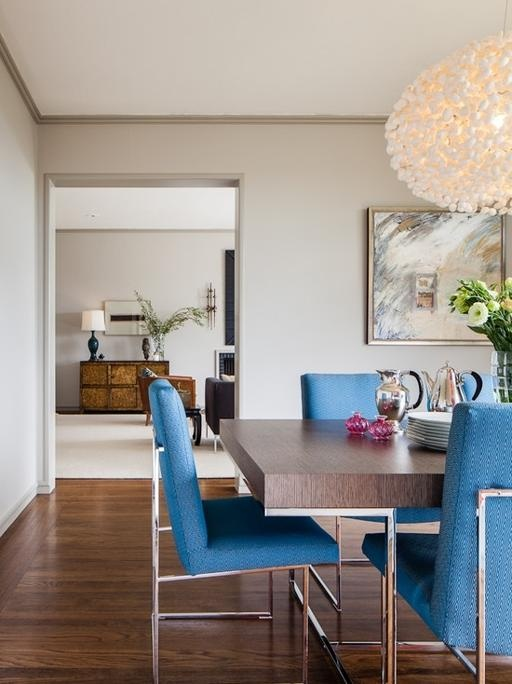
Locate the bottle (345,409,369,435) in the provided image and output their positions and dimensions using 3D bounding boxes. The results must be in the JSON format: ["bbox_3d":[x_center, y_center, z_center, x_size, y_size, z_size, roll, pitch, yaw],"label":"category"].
[{"bbox_3d":[0.323,0.254,1.894,0.074,0.067,0.070,2,3,3],"label":"bottle"}]

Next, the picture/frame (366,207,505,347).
[{"bbox_3d":[1.041,-0.438,3.563,0.942,0.926,0.039,0,1,0],"label":"picture/frame"}]

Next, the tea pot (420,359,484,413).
[{"bbox_3d":[0.592,0.132,1.843,0.231,0.169,0.147,1,0,38],"label":"tea pot"}]

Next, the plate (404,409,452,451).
[{"bbox_3d":[0.473,0.235,1.589,0.131,0.054,0.129,1,2,-9],"label":"plate"}]

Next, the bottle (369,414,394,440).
[{"bbox_3d":[0.373,0.259,1.799,0.070,0.075,0.081,2,-3,40],"label":"bottle"}]

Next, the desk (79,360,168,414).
[{"bbox_3d":[-1.784,0.585,8.077,1.159,0.712,0.394,1,8,-5],"label":"desk"}]

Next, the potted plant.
[{"bbox_3d":[-1.183,-0.185,8.470,0.894,0.838,1.008,1,-1,-6],"label":"potted plant"}]

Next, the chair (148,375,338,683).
[{"bbox_3d":[-0.047,0.598,2.114,0.745,1.193,0.917,0,1,-7],"label":"chair"}]

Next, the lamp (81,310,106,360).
[{"bbox_3d":[-2.246,-0.105,8.187,0.318,0.687,0.413,-2,4,-16],"label":"lamp"}]

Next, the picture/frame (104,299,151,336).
[{"bbox_3d":[-1.808,-0.354,8.285,0.481,0.661,0.025,-4,4,-6],"label":"picture/frame"}]

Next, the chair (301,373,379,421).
[{"bbox_3d":[0.343,0.227,2.552,0.264,0.368,0.200,2,-7,-7],"label":"chair"}]
